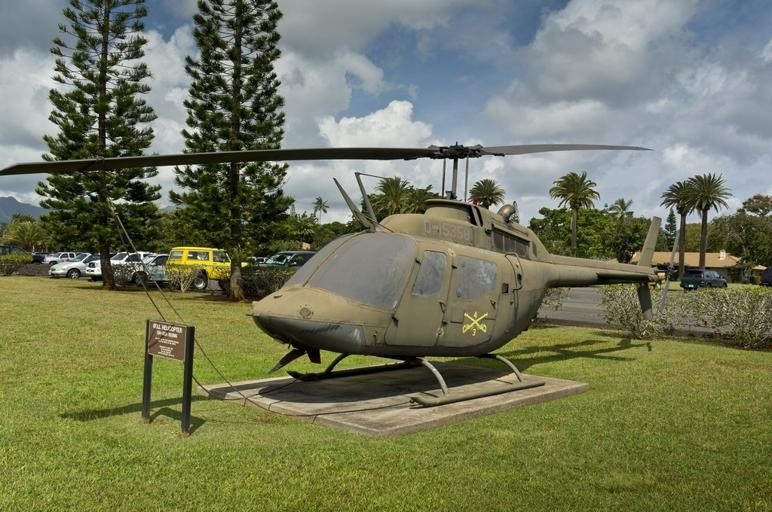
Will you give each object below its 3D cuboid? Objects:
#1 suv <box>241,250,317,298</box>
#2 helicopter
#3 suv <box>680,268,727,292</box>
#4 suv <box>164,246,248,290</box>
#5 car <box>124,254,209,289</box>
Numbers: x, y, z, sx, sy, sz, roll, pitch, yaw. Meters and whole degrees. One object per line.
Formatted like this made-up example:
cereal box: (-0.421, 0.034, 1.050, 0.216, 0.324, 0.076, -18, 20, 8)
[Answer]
suv: (-4.491, 0.854, 25.279, 4.277, 1.882, 2.355, 0, 0, -36)
helicopter: (0.510, 0.103, 9.634, 10.682, 4.365, 1.687, 0, 5, -27)
suv: (24.251, 1.801, 41.830, 3.156, 1.107, 1.461, -6, 6, -34)
suv: (-8.654, 0.702, 26.108, 3.695, 1.828, 2.324, -3, 3, -25)
car: (-10.075, 0.736, 25.272, 3.210, 1.355, 1.669, 3, -4, -24)
